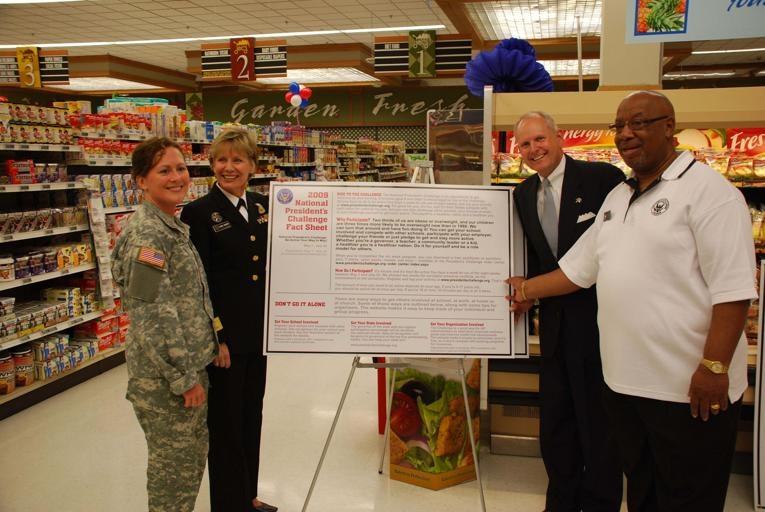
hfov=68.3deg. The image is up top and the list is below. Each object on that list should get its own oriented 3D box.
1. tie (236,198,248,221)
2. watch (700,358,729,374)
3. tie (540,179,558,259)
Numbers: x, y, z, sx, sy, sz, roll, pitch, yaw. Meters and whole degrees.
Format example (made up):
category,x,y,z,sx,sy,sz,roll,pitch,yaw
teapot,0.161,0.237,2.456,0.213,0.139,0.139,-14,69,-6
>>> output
category,x,y,z,sx,sy,sz,roll,pitch,yaw
tie,-0.901,-0.302,3.582,0.086,0.115,0.031,-12,0,-44
watch,1.576,0.523,2.680,0.079,0.083,0.032,10,63,38
tie,1.048,-0.239,3.565,0.117,0.478,0.043,-14,17,2
